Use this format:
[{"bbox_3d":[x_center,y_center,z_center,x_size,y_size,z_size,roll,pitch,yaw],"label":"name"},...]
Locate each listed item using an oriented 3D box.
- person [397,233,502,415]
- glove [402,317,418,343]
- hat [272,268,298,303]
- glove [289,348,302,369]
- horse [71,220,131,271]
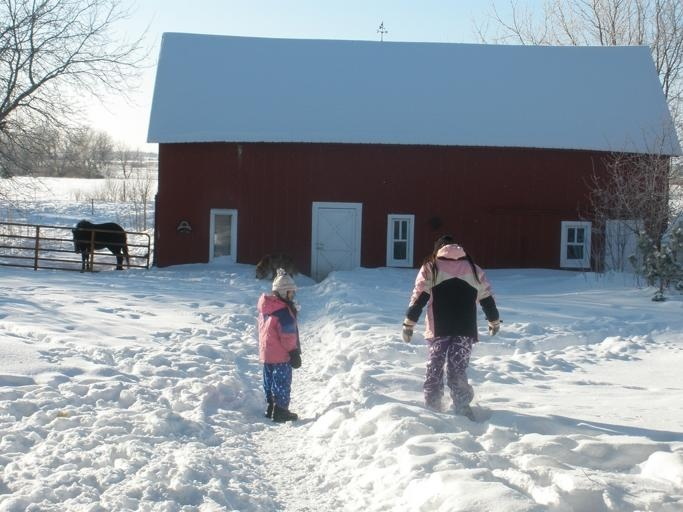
[{"bbox_3d":[1.580,1.001,10.364,1.334,2.575,0.413,1,-1,5],"label":"person"},{"bbox_3d":[0.943,1.061,10.414,0.277,0.425,0.165,5,7,-44],"label":"glove"},{"bbox_3d":[-0.867,0.439,10.782,0.318,0.489,0.439,1,0,-2],"label":"hat"},{"bbox_3d":[-0.699,1.518,10.614,0.153,0.293,0.179,1,-1,-5],"label":"glove"},{"bbox_3d":[-7.284,-0.326,21.301,1.958,1.565,0.609,-1,-5,2],"label":"horse"}]
